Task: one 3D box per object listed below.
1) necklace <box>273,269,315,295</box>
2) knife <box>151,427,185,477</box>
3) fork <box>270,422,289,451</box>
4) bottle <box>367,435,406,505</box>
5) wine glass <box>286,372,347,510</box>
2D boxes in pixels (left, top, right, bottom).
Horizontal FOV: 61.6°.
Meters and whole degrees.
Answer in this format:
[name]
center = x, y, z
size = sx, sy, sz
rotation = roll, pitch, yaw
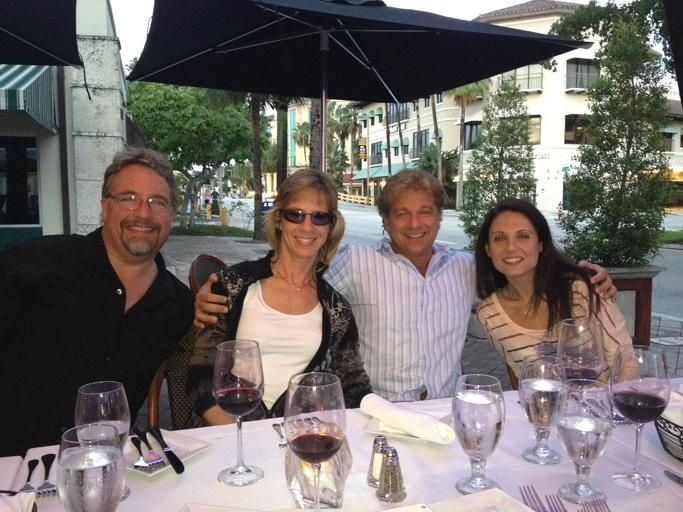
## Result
[necklace]
center = -0.283, 0.146, 3.587
size = 0.202, 0.063, 0.147
rotation = 3, 45, -36
[knife]
center = -0.730, 0.821, 2.406
size = 0.069, 0.030, 0.513
rotation = -1, 15, -25
[fork]
center = -0.276, 0.810, 2.584
size = 0.061, 0.038, 0.256
rotation = -10, 17, -8
[bottle]
center = 0.180, 0.838, 2.259
size = 0.138, 0.197, 0.176
rotation = -2, 6, -13
[wine glass]
center = -0.101, 0.705, 2.158
size = 0.227, 0.504, 0.328
rotation = -1, 5, -3
